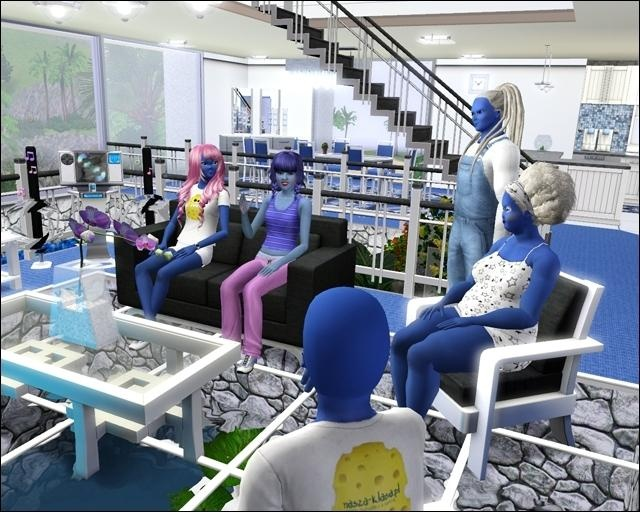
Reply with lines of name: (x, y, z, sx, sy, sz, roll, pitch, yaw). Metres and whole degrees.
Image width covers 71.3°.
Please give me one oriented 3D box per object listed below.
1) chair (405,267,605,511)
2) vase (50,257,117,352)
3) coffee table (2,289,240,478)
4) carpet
chair: (0.883, 0.603, 2.588, 0.924, 1.126, 1.243, -1, 8, -12)
vase: (-1.114, 0.316, 2.075, 0.243, 0.291, 0.110, 20, 40, -21)
coffee table: (-1.030, 0.598, 2.145, 1.074, 0.835, 0.722, 5, 13, 17)
carpet: (1.555, 0.332, 2.831, 0.593, 0.767, 1.124, 9, 25, 25)
